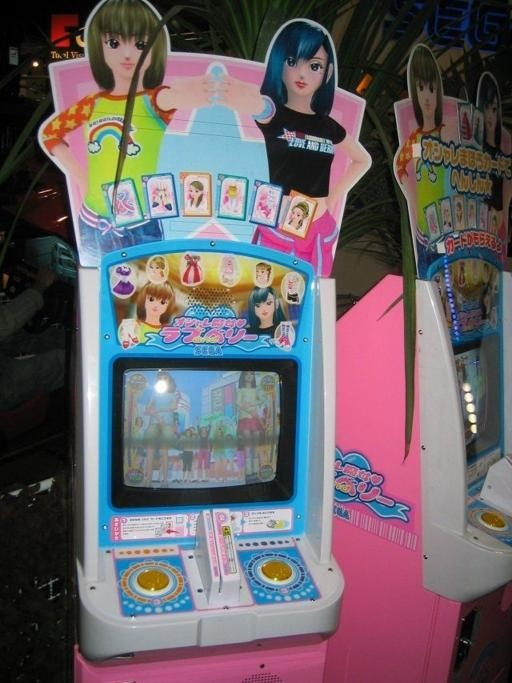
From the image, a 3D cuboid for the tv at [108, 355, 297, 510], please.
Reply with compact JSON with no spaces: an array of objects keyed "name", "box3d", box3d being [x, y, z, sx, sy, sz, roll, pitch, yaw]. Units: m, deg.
[{"name":"tv","box3d":[-0.129,0.183,1.135,0.327,0.284,0.118,1,1,-13]}]
